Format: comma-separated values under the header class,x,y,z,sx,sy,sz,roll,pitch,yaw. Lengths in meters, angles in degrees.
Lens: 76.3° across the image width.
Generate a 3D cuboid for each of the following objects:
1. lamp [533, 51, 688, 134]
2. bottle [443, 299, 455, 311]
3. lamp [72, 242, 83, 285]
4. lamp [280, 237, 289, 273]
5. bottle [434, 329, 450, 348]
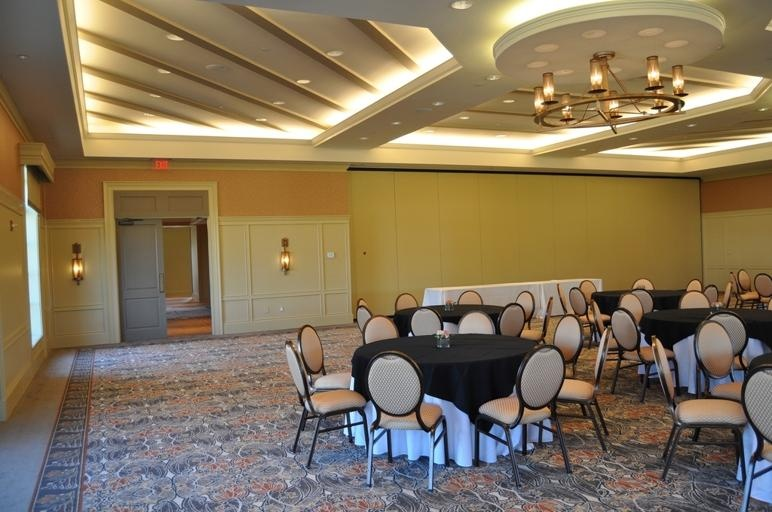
class,x,y,z,sx,sy,sz,roll,pitch,yaw
lamp,3.290,-2.320,7.146,1.849,0.807,1.822,-1,4,-29
bottle,1.140,0.894,8.986,0.199,0.273,0.215,-1,-2,0
lamp,-7.029,0.164,11.232,0.252,0.913,0.129,-7,10,-29
lamp,-2.592,-0.011,12.604,0.274,0.905,0.180,-5,9,-13
bottle,0.680,1.012,6.078,0.202,0.267,0.199,-1,1,0
